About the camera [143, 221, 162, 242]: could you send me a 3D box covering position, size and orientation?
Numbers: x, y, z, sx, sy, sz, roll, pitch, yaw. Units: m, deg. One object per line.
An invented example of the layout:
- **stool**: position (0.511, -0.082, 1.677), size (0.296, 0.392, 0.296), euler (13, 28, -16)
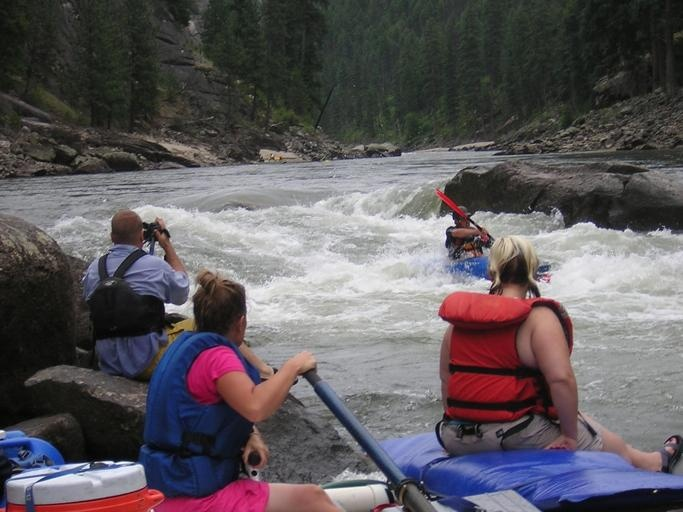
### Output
- **camera**: position (-2.073, -0.279, 9.763), size (0.163, 0.199, 0.201), euler (-1, -1, 2)

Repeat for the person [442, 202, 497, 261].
- **person**: position (2.136, -0.163, 15.361), size (0.594, 1.095, 0.581), euler (-22, 7, -29)

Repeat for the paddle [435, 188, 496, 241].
- **paddle**: position (2.483, -0.803, 17.542), size (0.196, 0.264, 2.299), euler (-8, 40, -29)
